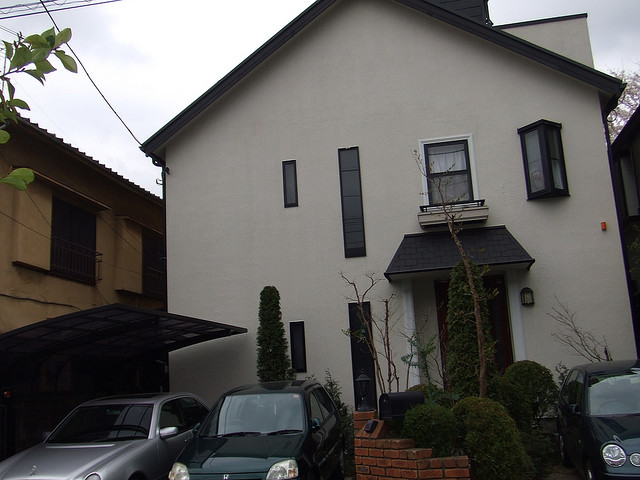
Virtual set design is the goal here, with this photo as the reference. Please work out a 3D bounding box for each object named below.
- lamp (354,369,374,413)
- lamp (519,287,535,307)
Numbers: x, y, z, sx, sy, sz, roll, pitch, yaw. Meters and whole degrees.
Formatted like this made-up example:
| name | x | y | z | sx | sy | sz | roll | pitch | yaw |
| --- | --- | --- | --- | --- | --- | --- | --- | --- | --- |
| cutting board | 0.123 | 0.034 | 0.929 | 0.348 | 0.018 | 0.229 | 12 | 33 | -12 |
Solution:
| name | x | y | z | sx | sy | sz | roll | pitch | yaw |
| --- | --- | --- | --- | --- | --- | --- | --- | --- | --- |
| lamp | 0.808 | 2.748 | 10.784 | 0.356 | 0.728 | 0.380 | -15 | -18 | 36 |
| lamp | 4.955 | 1.347 | 14.072 | 0.347 | 0.650 | 0.384 | 0 | -8 | 3 |
